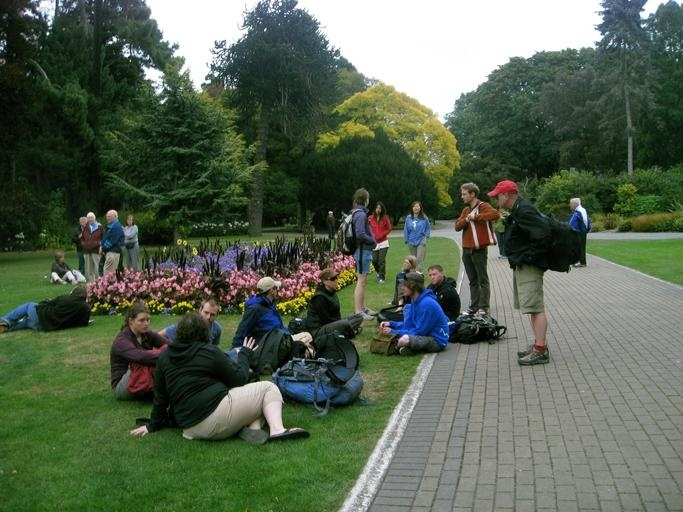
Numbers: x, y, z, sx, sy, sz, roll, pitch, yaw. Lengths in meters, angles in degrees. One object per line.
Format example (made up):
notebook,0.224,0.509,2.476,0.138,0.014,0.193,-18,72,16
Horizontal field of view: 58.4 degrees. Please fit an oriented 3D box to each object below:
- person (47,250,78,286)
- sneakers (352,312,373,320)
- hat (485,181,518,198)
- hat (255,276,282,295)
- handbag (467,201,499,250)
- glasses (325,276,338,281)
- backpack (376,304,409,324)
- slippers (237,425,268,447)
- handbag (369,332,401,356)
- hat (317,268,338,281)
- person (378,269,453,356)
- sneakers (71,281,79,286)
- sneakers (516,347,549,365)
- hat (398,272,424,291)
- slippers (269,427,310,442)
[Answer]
person,-8.871,0.437,19.654,0.709,1.065,1.248,0,5,-42
sneakers,0.421,1.212,12.417,0.431,0.196,0.150,0,6,-9
hat,2.472,-1.050,9.546,0.415,0.239,0.274,4,10,17
hat,-1.103,0.442,9.091,0.313,0.174,0.211,-13,23,-23
handbag,2.636,-0.604,11.916,0.519,0.909,0.777,-13,8,-37
glasses,-0.153,0.395,10.241,0.106,0.036,0.078,-19,-4,26
backpack,0.914,1.122,11.395,0.471,0.180,0.365,-26,18,-15
slippers,-1.058,2.173,7.427,0.278,0.111,0.168,5,6,30
handbag,0.707,1.471,10.311,0.551,0.427,0.300,-2,-9,40
hat,-0.232,0.328,10.263,0.248,0.141,0.186,-10,14,-16
person,1.231,0.972,10.493,1.107,1.422,1.257,-1,-1,23
sneakers,-8.308,0.867,19.144,0.208,0.113,0.295,0,4,-9
sneakers,2.908,1.546,9.415,0.338,0.135,0.287,1,3,-5
hat,1.193,0.431,10.318,0.342,0.331,0.308,-2,11,0
slippers,-0.632,2.158,7.371,0.453,0.147,0.183,-7,-26,-4
